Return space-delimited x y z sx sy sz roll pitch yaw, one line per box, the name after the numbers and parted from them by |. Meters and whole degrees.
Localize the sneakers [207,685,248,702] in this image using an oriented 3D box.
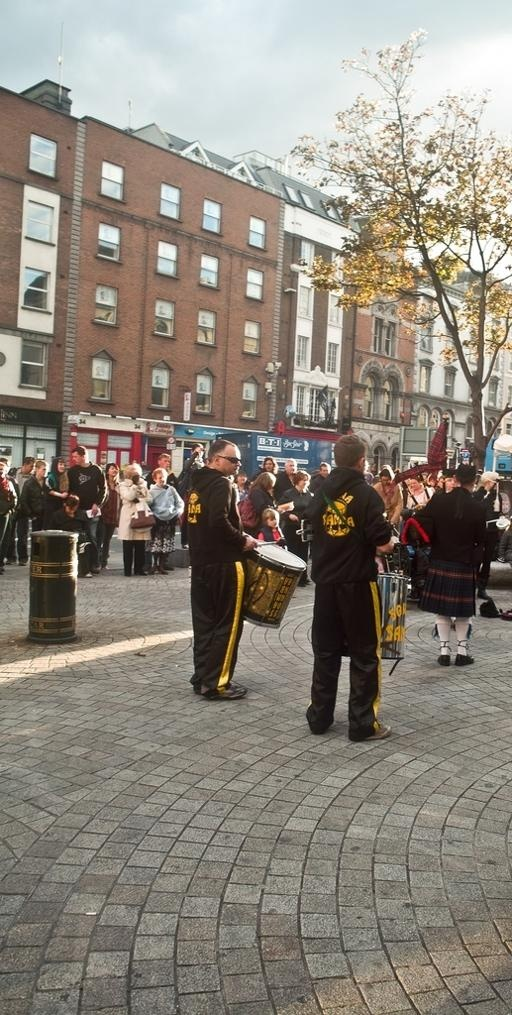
-0.202 1.354 5.532 0.349 0.117 0.172 2 0 -38 | sneakers

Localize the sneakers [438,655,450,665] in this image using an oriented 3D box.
1.761 1.421 7.036 0.101 0.110 0.155 2 0 14 | sneakers

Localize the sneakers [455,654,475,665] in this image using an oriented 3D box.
1.980 1.430 7.129 0.210 0.097 0.076 -5 4 -44 | sneakers

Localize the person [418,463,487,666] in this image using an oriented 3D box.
1.844 0.525 7.136 0.617 1.931 0.394 2 0 17 | person

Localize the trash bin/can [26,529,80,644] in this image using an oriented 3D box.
-1.926 0.759 7.188 0.442 1.022 0.236 2 0 -20 | trash bin/can

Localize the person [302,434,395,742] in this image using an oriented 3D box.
0.566 0.588 4.680 0.528 1.832 0.285 2 0 17 | person

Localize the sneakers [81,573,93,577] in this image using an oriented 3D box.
-2.769 1.091 12.314 0.192 0.073 0.234 2 0 -15 | sneakers

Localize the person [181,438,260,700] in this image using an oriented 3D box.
-0.271 0.429 5.713 0.428 1.907 0.554 2 0 -40 | person

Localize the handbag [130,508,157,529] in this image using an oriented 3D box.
-1.838 0.201 12.222 0.372 0.300 0.279 2 0 -12 | handbag

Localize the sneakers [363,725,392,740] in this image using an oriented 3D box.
0.760 1.406 4.683 0.189 0.083 0.073 -11 13 -36 | sneakers
